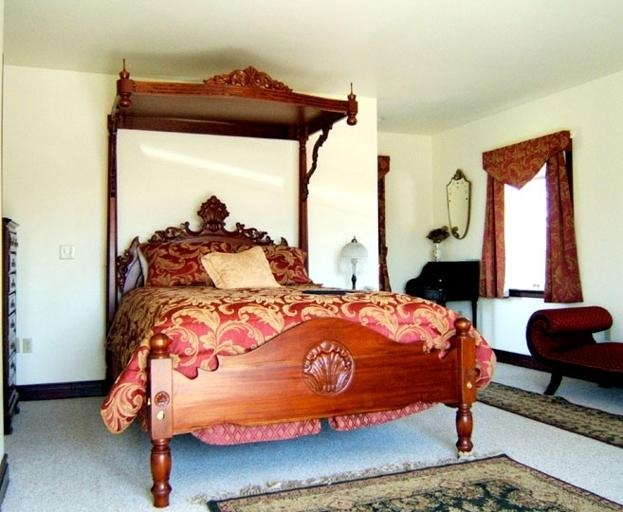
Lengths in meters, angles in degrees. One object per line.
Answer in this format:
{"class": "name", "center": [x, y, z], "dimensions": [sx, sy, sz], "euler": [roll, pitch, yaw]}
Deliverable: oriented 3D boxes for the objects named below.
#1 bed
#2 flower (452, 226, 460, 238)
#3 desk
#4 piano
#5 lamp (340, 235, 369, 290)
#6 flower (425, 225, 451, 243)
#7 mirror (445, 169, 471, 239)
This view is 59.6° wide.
{"class": "bed", "center": [-0.209, -0.006, 4.467], "dimensions": [2.485, 2.562, 3.113], "euler": [-1, 0, -20]}
{"class": "flower", "center": [1.732, -0.282, 6.590], "dimensions": [0.035, 0.114, 0.118], "euler": [4, -1, -20]}
{"class": "desk", "center": [1.520, 0.333, 5.985], "dimensions": [0.953, 0.802, 0.508], "euler": [2, 3, 19]}
{"class": "piano", "center": [1.555, 0.436, 6.243], "dimensions": [0.900, 0.737, 0.480], "euler": [-3, -1, 28]}
{"class": "lamp", "center": [0.409, 0.082, 5.356], "dimensions": [0.280, 0.524, 0.274], "euler": [7, -13, -32]}
{"class": "flower", "center": [1.557, -0.253, 6.762], "dimensions": [0.213, 0.099, 0.211], "euler": [-11, 18, -30]}
{"class": "mirror", "center": [1.739, -0.647, 6.543], "dimensions": [0.397, 0.772, 0.031], "euler": [-4, 4, -28]}
